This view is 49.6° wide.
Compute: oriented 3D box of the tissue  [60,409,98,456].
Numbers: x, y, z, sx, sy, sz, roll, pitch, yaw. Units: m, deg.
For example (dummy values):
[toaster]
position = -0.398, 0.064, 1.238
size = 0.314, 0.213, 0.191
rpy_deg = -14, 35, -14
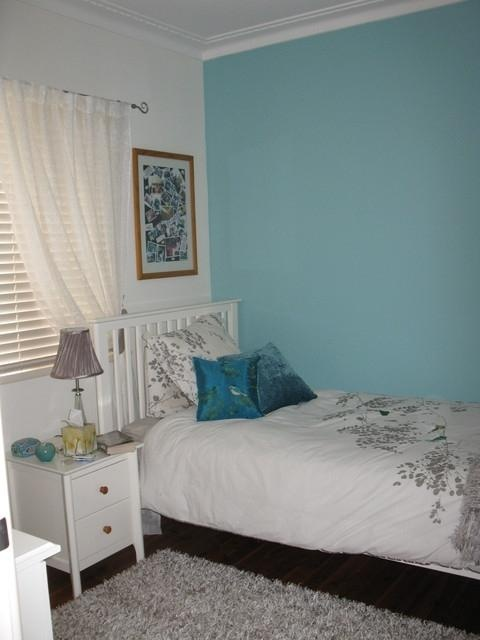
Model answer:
[tissue ]
position = -0.647, 0.458, 2.110
size = 0.117, 0.191, 0.113
rpy_deg = -1, 8, -45

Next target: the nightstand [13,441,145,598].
[nightstand]
position = -0.638, 0.714, 2.161
size = 0.434, 0.551, 0.473
rpy_deg = -1, 3, 33

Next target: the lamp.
[lamp]
position = -0.676, 0.223, 2.152
size = 0.196, 0.386, 0.195
rpy_deg = -1, 2, 31

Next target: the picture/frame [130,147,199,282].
[picture/frame]
position = -0.455, -0.658, 3.254
size = 0.014, 0.764, 0.592
rpy_deg = 6, 13, 29

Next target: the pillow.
[pillow]
position = -0.119, 0.212, 2.615
size = 0.842, 0.603, 0.525
rpy_deg = -5, 5, -40
